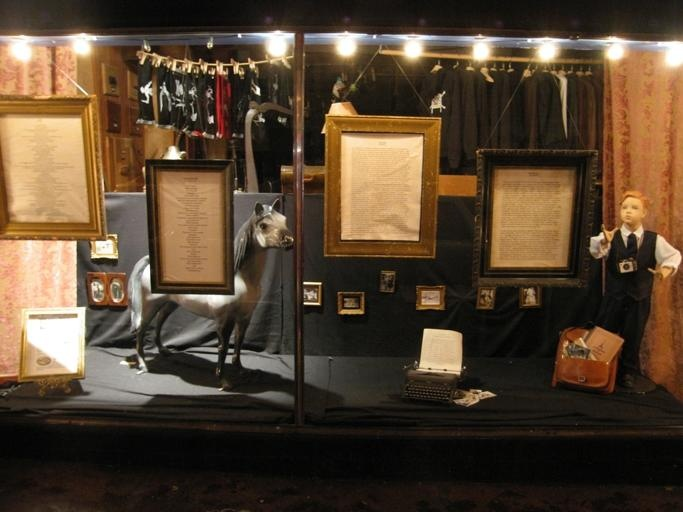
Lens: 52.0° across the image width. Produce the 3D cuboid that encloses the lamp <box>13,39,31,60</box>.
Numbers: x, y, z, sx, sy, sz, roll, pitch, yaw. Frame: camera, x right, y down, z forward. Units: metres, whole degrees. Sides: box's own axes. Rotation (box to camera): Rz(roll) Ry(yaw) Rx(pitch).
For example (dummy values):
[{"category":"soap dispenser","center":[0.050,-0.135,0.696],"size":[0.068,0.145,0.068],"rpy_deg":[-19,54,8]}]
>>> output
[{"category":"lamp","center":[-2.050,-1.319,4.500],"size":[0.109,0.111,0.172],"rpy_deg":[-4,10,-33]}]

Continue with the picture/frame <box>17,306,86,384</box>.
[{"category":"picture/frame","center":[-1.887,0.593,4.574],"size":[0.507,0.575,0.045],"rpy_deg":[0,-5,-5]}]

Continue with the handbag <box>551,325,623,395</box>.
[{"category":"handbag","center":[1.605,0.659,4.611],"size":[0.393,0.411,0.257],"rpy_deg":[9,18,23]}]

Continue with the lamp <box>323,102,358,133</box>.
[{"category":"lamp","center":[-0.027,-0.870,4.443],"size":[0.210,0.152,0.217],"rpy_deg":[-8,13,-37]}]

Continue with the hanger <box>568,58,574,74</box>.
[{"category":"hanger","center":[1.445,-1.198,4.419],"size":[0.062,0.088,0.027],"rpy_deg":[0,8,-6]}]

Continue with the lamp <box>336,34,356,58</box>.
[{"category":"lamp","center":[0.044,-1.299,4.353],"size":[0.131,0.116,0.096],"rpy_deg":[-4,9,-31]}]

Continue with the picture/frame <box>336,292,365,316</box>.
[{"category":"picture/frame","center":[0.054,0.320,4.725],"size":[0.166,0.135,0.023],"rpy_deg":[-1,12,-10]}]

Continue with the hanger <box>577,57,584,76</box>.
[{"category":"hanger","center":[1.507,-1.187,4.408],"size":[0.048,0.097,0.026],"rpy_deg":[3,8,15]}]

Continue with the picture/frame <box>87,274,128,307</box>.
[{"category":"picture/frame","center":[-1.578,0.229,4.752],"size":[0.227,0.213,0.023],"rpy_deg":[0,3,-1]}]

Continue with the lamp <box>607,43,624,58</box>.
[{"category":"lamp","center":[1.711,-1.272,4.377],"size":[0.116,0.086,0.056],"rpy_deg":[-4,9,-28]}]

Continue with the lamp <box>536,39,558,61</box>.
[{"category":"lamp","center":[1.281,-1.278,4.373],"size":[0.093,0.126,0.095],"rpy_deg":[10,16,43]}]

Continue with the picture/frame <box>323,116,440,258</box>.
[{"category":"picture/frame","center":[0.240,-0.466,4.359],"size":[0.834,0.988,0.082],"rpy_deg":[1,9,-4]}]

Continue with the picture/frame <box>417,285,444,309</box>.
[{"category":"picture/frame","center":[0.606,0.276,4.721],"size":[0.165,0.137,0.013],"rpy_deg":[0,7,0]}]

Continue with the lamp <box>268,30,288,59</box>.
[{"category":"lamp","center":[-0.399,-1.307,4.354],"size":[0.121,0.164,0.123],"rpy_deg":[8,5,29]}]

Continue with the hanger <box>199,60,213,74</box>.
[{"category":"hanger","center":[-0.882,-1.235,4.599],"size":[0.053,0.077,0.072],"rpy_deg":[6,4,25]}]

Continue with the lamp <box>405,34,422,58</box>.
[{"category":"lamp","center":[0.456,-1.314,4.443],"size":[0.118,0.096,0.243],"rpy_deg":[1,8,5]}]

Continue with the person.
[{"category":"person","center":[1.867,0.216,4.498],"size":[0.505,1.240,0.197],"rpy_deg":[4,9,24]}]

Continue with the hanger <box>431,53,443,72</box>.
[{"category":"hanger","center":[0.623,-1.259,4.583],"size":[0.122,0.119,0.083],"rpy_deg":[4,31,10]}]

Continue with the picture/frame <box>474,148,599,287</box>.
[{"category":"picture/frame","center":[1.207,-0.263,4.386],"size":[0.874,0.988,0.106],"rpy_deg":[1,9,1]}]

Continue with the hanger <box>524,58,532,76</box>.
[{"category":"hanger","center":[1.186,-1.189,4.449],"size":[0.019,0.074,0.080],"rpy_deg":[16,23,29]}]

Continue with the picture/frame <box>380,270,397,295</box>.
[{"category":"picture/frame","center":[0.312,0.172,4.733],"size":[0.148,0.196,0.029],"rpy_deg":[3,6,-2]}]

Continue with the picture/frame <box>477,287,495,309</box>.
[{"category":"picture/frame","center":[0.962,0.277,4.707],"size":[0.167,0.204,0.022],"rpy_deg":[0,12,-4]}]

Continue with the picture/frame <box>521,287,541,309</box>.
[{"category":"picture/frame","center":[1.269,0.274,4.694],"size":[0.158,0.203,0.021],"rpy_deg":[1,9,8]}]

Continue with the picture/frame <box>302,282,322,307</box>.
[{"category":"picture/frame","center":[-0.199,0.244,4.579],"size":[0.174,0.169,0.018],"rpy_deg":[-2,13,-19]}]
